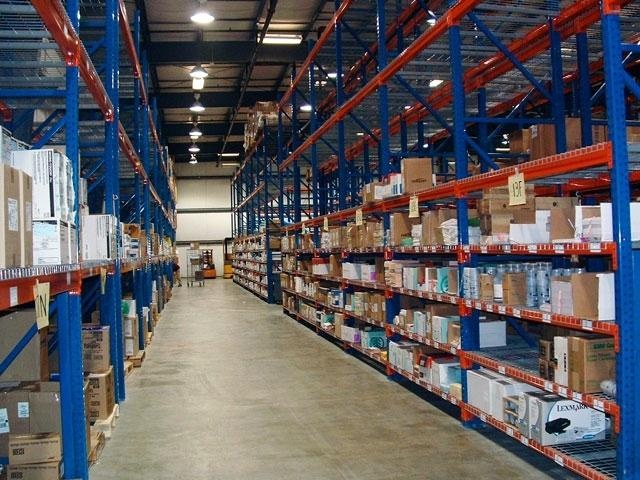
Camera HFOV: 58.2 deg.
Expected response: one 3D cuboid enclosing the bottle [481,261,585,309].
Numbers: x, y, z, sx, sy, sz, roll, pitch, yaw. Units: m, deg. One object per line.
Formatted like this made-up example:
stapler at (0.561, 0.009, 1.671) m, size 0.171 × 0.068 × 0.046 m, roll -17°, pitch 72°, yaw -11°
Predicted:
bottle at (1.908, 0.408, 5.307) m, size 0.399 × 0.346 × 1.192 m, roll 4°, pitch -6°, yaw -11°
